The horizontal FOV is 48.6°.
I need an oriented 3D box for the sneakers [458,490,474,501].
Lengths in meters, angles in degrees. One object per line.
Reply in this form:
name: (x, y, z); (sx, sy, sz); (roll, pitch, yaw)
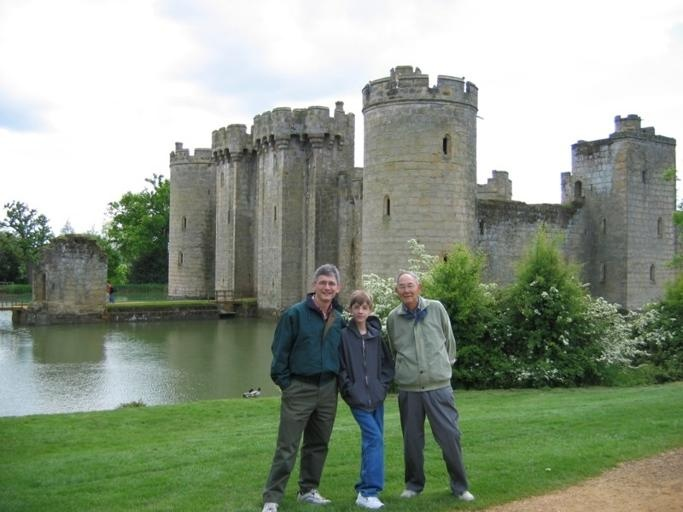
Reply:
sneakers: (1.884, 3.614, 11.369); (0.271, 0.140, 0.173); (3, -4, -31)

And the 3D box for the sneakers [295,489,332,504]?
sneakers: (-0.437, 3.599, 11.365); (0.497, 0.220, 0.197); (1, -2, 6)

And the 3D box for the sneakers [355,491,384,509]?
sneakers: (0.390, 3.623, 11.186); (0.436, 0.207, 0.172); (0, -3, 15)
